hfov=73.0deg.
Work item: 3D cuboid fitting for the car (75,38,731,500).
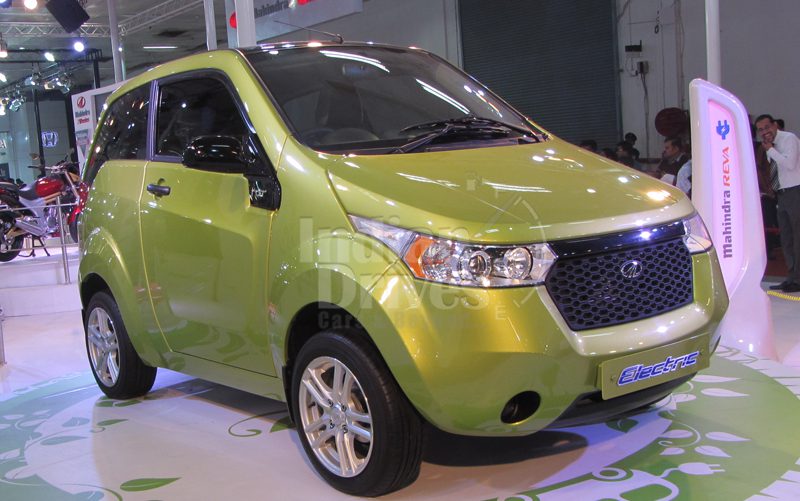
[{"bbox_3d":[-0.303,-0.092,3.650,2.448,2.030,3.806,-3,4,-45],"label":"car"}]
